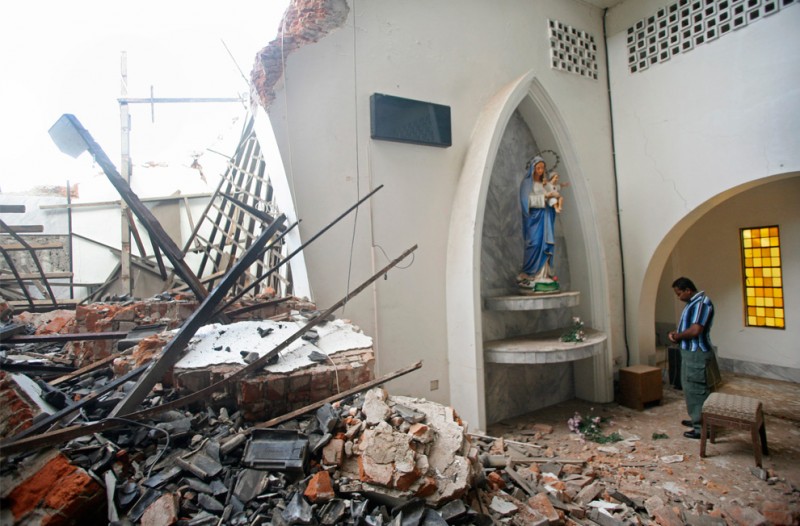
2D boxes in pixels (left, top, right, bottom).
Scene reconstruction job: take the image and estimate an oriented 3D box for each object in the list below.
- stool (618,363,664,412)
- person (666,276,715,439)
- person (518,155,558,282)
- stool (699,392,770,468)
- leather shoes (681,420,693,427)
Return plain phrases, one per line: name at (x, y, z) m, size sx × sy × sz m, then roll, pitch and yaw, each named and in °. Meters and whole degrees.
stool at (3.433, 1.777, 7.204) m, size 0.567 × 0.478 × 0.596 m, roll -7°, pitch -5°, yaw 42°
person at (3.544, 1.148, 6.126) m, size 0.424 × 1.915 × 0.310 m, roll 1°, pitch 4°, yaw 30°
person at (1.861, -0.563, 6.726) m, size 0.552 × 1.707 × 0.318 m, roll 0°, pitch 3°, yaw 12°
stool at (3.822, 1.844, 5.737) m, size 0.618 × 0.708 × 0.718 m, roll 2°, pitch 4°, yaw 38°
leather shoes at (3.669, 2.038, 6.414) m, size 0.051 × 0.100 × 0.143 m, roll 6°, pitch -2°, yaw -35°
